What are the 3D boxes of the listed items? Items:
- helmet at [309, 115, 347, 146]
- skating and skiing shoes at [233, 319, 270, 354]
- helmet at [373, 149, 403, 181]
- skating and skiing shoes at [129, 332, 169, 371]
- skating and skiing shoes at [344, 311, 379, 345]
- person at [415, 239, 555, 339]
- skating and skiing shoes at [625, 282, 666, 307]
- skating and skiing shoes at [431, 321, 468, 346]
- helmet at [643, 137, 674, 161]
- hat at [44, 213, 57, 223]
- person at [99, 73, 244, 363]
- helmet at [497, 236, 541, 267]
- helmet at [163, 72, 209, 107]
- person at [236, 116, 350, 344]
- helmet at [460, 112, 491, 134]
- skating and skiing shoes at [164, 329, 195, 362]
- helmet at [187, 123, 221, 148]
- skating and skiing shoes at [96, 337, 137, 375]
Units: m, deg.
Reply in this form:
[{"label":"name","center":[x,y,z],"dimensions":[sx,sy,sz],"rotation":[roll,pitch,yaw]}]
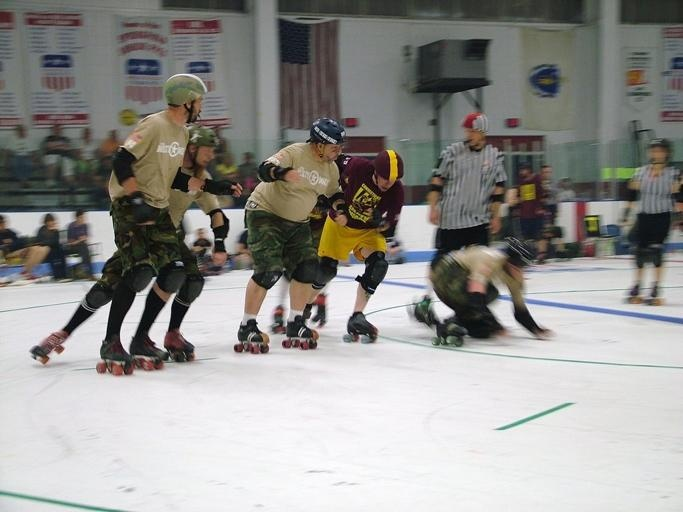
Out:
[{"label":"helmet","center":[-0.047,-0.960,5.825],"dimensions":[0.272,0.184,0.192],"rotation":[-13,29,-42]},{"label":"skating and skiing shoes","center":[-0.659,0.613,5.725],"dimensions":[0.297,0.224,0.177],"rotation":[1,-2,42]},{"label":"helmet","center":[0.369,-0.696,5.949],"dimensions":[0.220,0.248,0.242],"rotation":[0,12,1]},{"label":"skating and skiing shoes","center":[-1.383,0.665,5.264],"dimensions":[0.199,0.222,0.360],"rotation":[-10,-13,26]},{"label":"skating and skiing shoes","center":[0.151,0.572,6.061],"dimensions":[0.287,0.249,0.200],"rotation":[-2,-1,25]},{"label":"person","center":[1.090,0.221,6.125],"dimensions":[1.099,0.836,0.638],"rotation":[9,24,12]},{"label":"skating and skiing shoes","center":[3.160,0.416,7.909],"dimensions":[0.176,0.216,0.560],"rotation":[1,-12,29]},{"label":"skating and skiing shoes","center":[0.834,0.609,5.886],"dimensions":[0.216,0.193,0.096],"rotation":[7,32,15]},{"label":"helmet","center":[3.409,-1.123,8.153],"dimensions":[0.197,0.242,0.688],"rotation":[6,13,25]},{"label":"hat","center":[-4.078,-0.531,10.752],"dimensions":[0.142,0.117,0.137],"rotation":[-2,-7,22]},{"label":"person","center":[-1.292,-0.222,5.166],"dimensions":[0.455,1.979,0.896],"rotation":[11,17,38]},{"label":"helmet","center":[1.373,-0.015,5.971],"dimensions":[0.232,0.250,0.294],"rotation":[2,12,9]},{"label":"helmet","center":[-1.093,-1.117,5.209],"dimensions":[0.294,0.210,0.207],"rotation":[-20,32,3]},{"label":"person","center":[-0.404,-0.164,5.901],"dimensions":[0.646,1.765,1.099],"rotation":[11,17,37]},{"label":"helmet","center":[1.176,-1.159,6.674],"dimensions":[0.196,0.162,0.240],"rotation":[2,12,6]},{"label":"skating and skiing shoes","center":[-1.186,0.638,5.421],"dimensions":[0.155,0.188,0.308],"rotation":[0,-12,35]},{"label":"helmet","center":[-0.981,-0.862,5.438],"dimensions":[0.214,0.172,0.148],"rotation":[2,25,-8]},{"label":"skating and skiing shoes","center":[-1.494,0.669,5.104],"dimensions":[0.307,0.260,0.189],"rotation":[2,3,34]}]
